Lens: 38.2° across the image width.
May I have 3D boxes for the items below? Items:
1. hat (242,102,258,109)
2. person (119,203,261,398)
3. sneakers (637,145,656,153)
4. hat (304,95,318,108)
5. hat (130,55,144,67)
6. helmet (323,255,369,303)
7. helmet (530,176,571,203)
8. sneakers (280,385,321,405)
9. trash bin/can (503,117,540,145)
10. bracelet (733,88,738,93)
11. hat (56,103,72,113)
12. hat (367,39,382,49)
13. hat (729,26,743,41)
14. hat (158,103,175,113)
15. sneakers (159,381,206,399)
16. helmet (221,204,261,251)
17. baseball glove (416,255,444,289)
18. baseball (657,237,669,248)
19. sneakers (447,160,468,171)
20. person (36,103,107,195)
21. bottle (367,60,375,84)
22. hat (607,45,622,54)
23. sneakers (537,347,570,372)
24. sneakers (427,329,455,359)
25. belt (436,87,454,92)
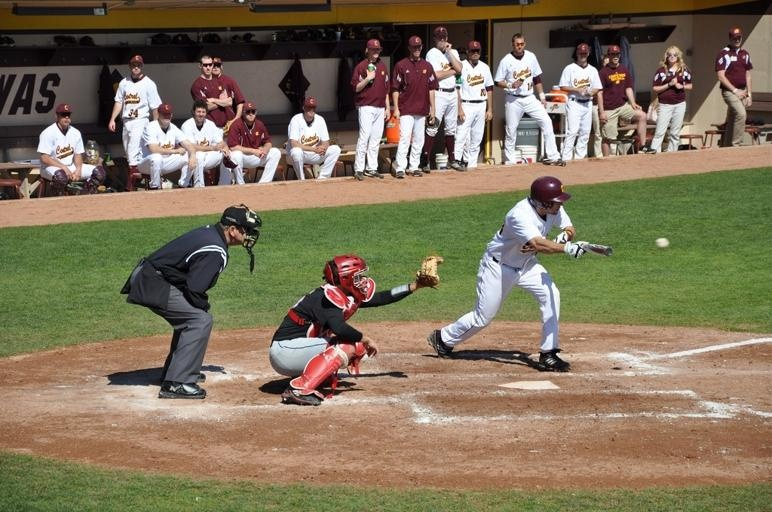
[{"bbox_3d":[-2.490,-2.696,20.338,0.233,0.103,0.298,0,9,-12],"label":"hat"},{"bbox_3d":[-2.206,0.542,12.559,1.434,2.181,0.418,1,2,-3],"label":"person"},{"bbox_3d":[5.323,-2.152,22.719,0.524,0.191,0.178,1,9,17],"label":"sneakers"},{"bbox_3d":[-1.400,-2.778,20.475,0.200,0.194,0.342,1,2,-10],"label":"hat"},{"bbox_3d":[-4.604,-3.586,20.699,0.270,0.160,0.343,2,3,-16],"label":"hat"},{"bbox_3d":[-0.445,0.245,12.614,0.637,0.475,0.441,-2,14,-5],"label":"helmet"},{"bbox_3d":[1.923,-0.770,13.128,0.433,0.183,0.294,-1,20,4],"label":"helmet"},{"bbox_3d":[-0.940,1.585,12.647,0.519,0.193,0.174,0,8,10],"label":"sneakers"},{"bbox_3d":[2.817,-2.548,23.205,0.580,0.526,0.612,0,9,2],"label":"trash bin/can"},{"bbox_3d":[7.010,-3.310,22.502,0.102,0.052,0.092,4,-3,10],"label":"bracelet"},{"bbox_3d":[-5.703,-2.577,19.751,0.278,0.131,0.207,-1,2,44],"label":"hat"},{"bbox_3d":[-0.244,-3.736,19.721,0.238,0.137,0.308,-4,6,-24],"label":"hat"},{"bbox_3d":[6.928,-4.363,22.232,0.185,0.333,0.534,2,2,23],"label":"hat"},{"bbox_3d":[-3.907,-2.570,19.767,0.208,0.181,0.222,1,2,-21],"label":"hat"},{"bbox_3d":[-2.297,1.513,12.761,0.515,0.201,0.192,-1,15,0],"label":"sneakers"},{"bbox_3d":[-1.593,-0.381,12.773,0.624,0.512,0.436,-2,24,-14],"label":"helmet"},{"bbox_3d":[0.497,0.202,12.870,0.216,0.408,0.325,32,-4,13],"label":"baseball glove"},{"bbox_3d":[3.699,-0.170,15.015,0.175,0.144,0.169,9,4,20],"label":"baseball"},{"bbox_3d":[1.334,-1.701,21.189,0.441,0.162,0.154,14,40,30],"label":"sneakers"},{"bbox_3d":[-5.679,-1.898,20.098,0.612,1.535,1.172,3,3,28],"label":"person"},{"bbox_3d":[-0.261,-3.206,19.643,0.110,0.354,0.160,2,2,20],"label":"bottle"},{"bbox_3d":[4.457,-4.051,22.197,0.251,0.153,0.317,-7,8,-29],"label":"hat"},{"bbox_3d":[1.995,1.270,13.530,0.400,0.193,0.228,4,10,23],"label":"sneakers"},{"bbox_3d":[0.679,1.107,13.953,0.230,0.465,0.166,-33,16,15],"label":"sneakers"},{"bbox_3d":[1.095,-3.024,20.521,0.327,0.086,0.066,0,2,-24],"label":"belt"}]
